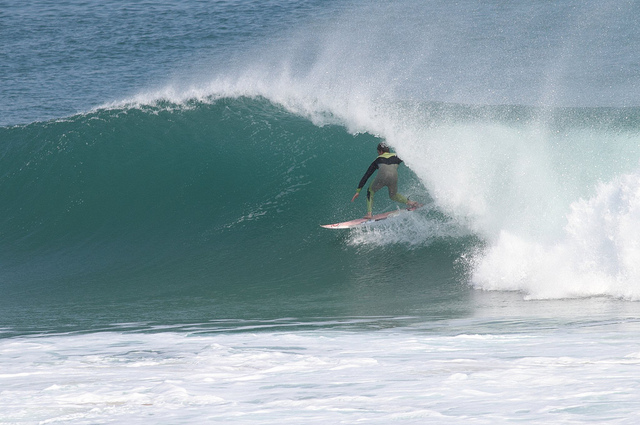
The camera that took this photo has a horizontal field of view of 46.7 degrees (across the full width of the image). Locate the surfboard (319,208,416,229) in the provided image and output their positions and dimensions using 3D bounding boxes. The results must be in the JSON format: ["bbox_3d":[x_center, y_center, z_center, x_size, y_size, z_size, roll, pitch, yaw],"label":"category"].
[{"bbox_3d":[1.326,0.187,19.612,1.864,0.214,0.114,-10,48,-1],"label":"surfboard"}]
